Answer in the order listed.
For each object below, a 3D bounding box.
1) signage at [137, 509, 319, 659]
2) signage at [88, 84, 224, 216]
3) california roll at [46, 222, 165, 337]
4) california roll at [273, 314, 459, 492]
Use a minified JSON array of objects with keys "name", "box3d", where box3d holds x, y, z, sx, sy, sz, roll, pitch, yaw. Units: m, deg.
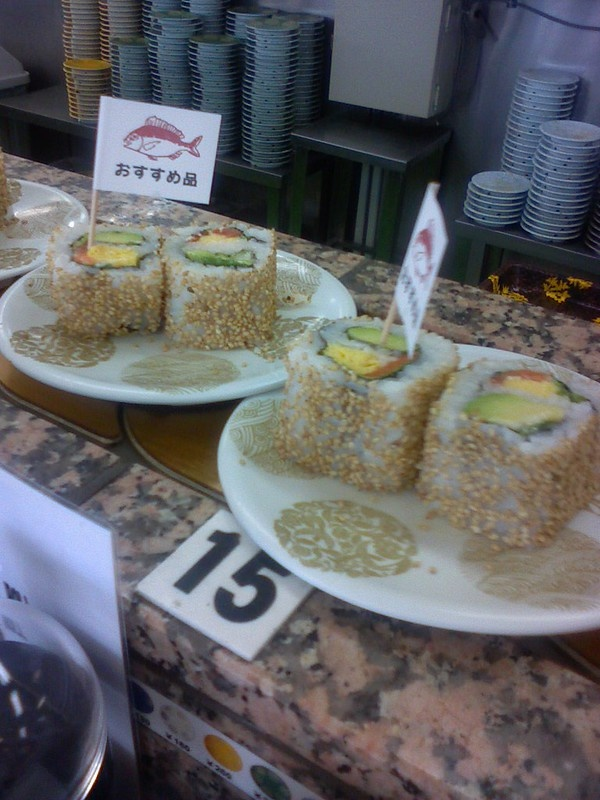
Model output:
[{"name":"signage","box3d":[-0.049,0.130,0.486,0.102,0.036,0.103,18,21,24]},{"name":"signage","box3d":[-0.164,-0.287,0.767,0.158,0.100,0.012,14,22,14]},{"name":"california roll","box3d":[-0.237,-0.160,0.825,0.154,0.059,0.173,-4,46,-23]},{"name":"california roll","box3d":[0.067,0.000,0.633,0.178,0.104,0.140,-5,37,-5]}]
